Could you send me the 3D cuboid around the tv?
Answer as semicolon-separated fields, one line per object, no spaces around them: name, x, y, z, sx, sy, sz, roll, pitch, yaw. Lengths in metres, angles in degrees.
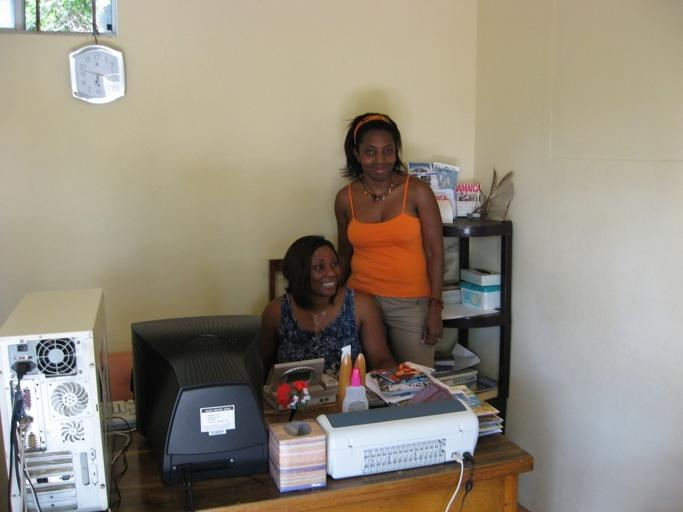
tv;-0.414;0.437;1.798;0.408;0.386;0.490;-1;10;-24

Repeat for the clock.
clock;-1.252;-0.929;2.925;0.286;0.329;0.050;-2;10;-21

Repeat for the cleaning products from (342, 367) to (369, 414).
cleaning products;0.046;0.461;1.887;0.091;0.177;0.049;0;5;-10

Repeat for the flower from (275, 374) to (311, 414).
flower;-0.157;0.463;1.950;0.113;0.119;0.055;13;-28;3

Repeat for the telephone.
telephone;-0.139;0.448;2.116;0.247;0.183;0.154;-4;11;-21

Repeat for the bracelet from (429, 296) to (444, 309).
bracelet;0.481;0.237;2.914;0.061;0.065;0.044;4;-1;-17

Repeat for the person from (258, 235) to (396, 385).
person;-0.094;0.286;2.641;0.726;0.754;0.408;-1;20;2

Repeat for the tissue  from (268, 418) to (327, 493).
tissue ;-0.138;0.558;1.671;0.162;0.178;0.166;-1;5;-14
